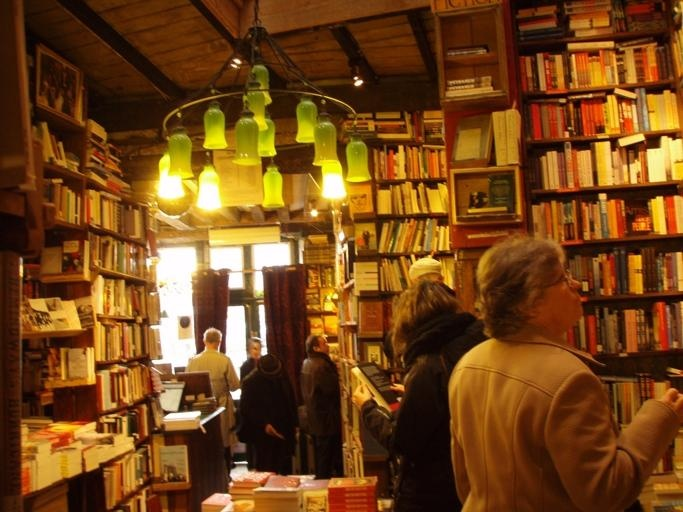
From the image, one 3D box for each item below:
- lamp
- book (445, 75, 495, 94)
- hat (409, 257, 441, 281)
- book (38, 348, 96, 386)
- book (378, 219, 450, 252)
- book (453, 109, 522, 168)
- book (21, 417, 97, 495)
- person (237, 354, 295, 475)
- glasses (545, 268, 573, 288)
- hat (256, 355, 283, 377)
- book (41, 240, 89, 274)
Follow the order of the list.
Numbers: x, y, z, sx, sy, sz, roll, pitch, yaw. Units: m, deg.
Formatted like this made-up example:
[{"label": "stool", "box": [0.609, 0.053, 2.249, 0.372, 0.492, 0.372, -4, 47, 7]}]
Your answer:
[{"label": "lamp", "box": [-0.663, -1.278, 5.503, 1.439, 1.519, 1.455, -7, -8, 23]}, {"label": "book", "box": [0.827, -1.087, 4.030, 0.184, 0.045, 0.178, -2, -1, 10]}, {"label": "hat", "box": [0.509, 0.082, 3.734, 0.169, 0.142, 0.125, -3, 0, -33]}, {"label": "book", "box": [-2.202, 0.913, 5.190, 0.423, 0.390, 0.306, -2, -10, -2]}, {"label": "book", "box": [0.711, -0.182, 6.247, 0.425, 0.210, 0.434, -1, -7, 9]}, {"label": "book", "box": [0.939, -0.740, 4.043, 0.354, 0.326, 0.203, 2, -19, 34]}, {"label": "book", "box": [-1.934, 1.319, 4.263, 0.366, 0.369, 0.907, -3, -7, -14]}, {"label": "person", "box": [-0.817, 1.774, 7.088, 0.665, 1.301, 0.358, -3, -7, -13]}, {"label": "glasses", "box": [0.775, 0.084, 2.258, 0.058, 0.070, 0.079, -24, -20, 40]}, {"label": "hat", "box": [-0.794, 1.226, 7.077, 0.316, 0.235, 0.161, -2, -7, -22]}, {"label": "book", "box": [-2.229, 0.021, 5.121, 0.267, 0.240, 0.094, -1, -9, 2]}]
